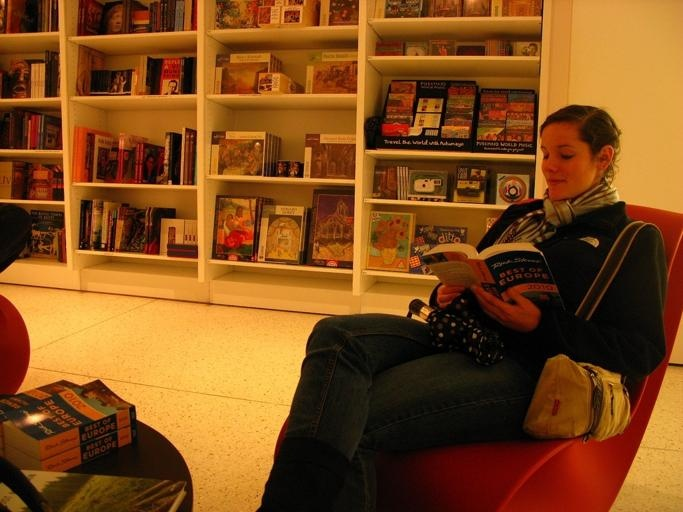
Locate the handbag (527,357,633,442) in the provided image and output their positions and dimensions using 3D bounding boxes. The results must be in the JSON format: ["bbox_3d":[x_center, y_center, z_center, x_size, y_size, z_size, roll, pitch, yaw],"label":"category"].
[{"bbox_3d":[0.657,0.386,1.405,0.328,0.209,0.173,17,-13,-37],"label":"handbag"}]
